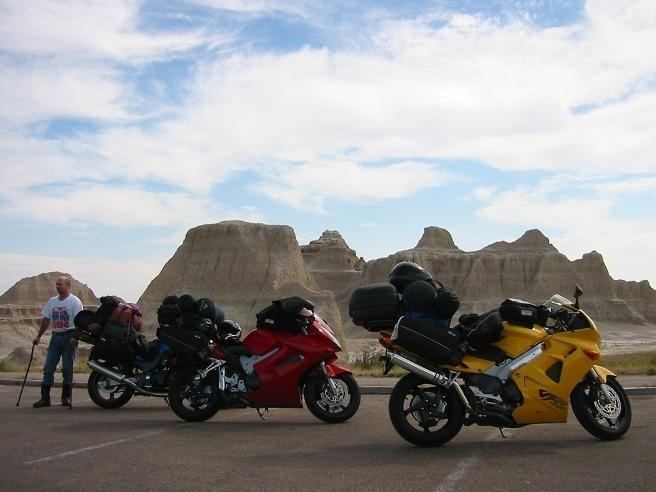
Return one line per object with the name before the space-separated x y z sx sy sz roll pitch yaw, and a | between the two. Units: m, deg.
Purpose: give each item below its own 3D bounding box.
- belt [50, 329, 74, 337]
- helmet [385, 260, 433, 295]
belt | -5.518 1.741 10.695 0.331 0.103 0.284 -3 -1 -43
helmet | 1.205 0.493 7.470 0.677 0.506 0.439 4 -31 7
